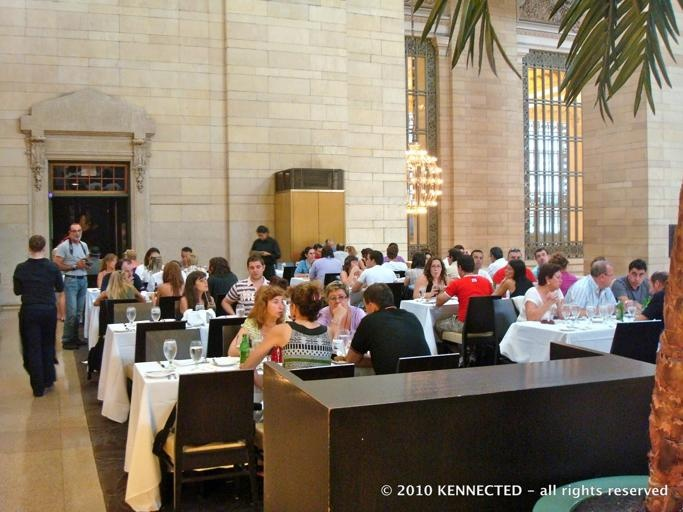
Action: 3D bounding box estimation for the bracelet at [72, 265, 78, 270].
[{"bbox_3d":[-3.815,0.165,9.752,0.057,0.057,0.084,-5,6,-30],"label":"bracelet"}]

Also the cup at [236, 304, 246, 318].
[{"bbox_3d":[-1.088,0.580,7.290,0.115,0.134,0.125,0,-5,0],"label":"cup"}]

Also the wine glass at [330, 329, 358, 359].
[{"bbox_3d":[0.018,0.721,5.581,0.184,0.341,0.191,1,-9,-13],"label":"wine glass"}]

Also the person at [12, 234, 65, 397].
[{"bbox_3d":[-3.345,0.620,7.474,0.416,1.694,0.450,8,8,44],"label":"person"}]

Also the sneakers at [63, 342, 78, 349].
[{"bbox_3d":[-3.828,1.252,9.596,0.149,0.119,0.098,-1,2,0],"label":"sneakers"}]

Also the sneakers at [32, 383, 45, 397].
[{"bbox_3d":[-3.261,1.425,7.382,0.121,0.161,0.130,3,4,-6],"label":"sneakers"}]

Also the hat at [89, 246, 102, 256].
[{"bbox_3d":[-4.286,-0.092,11.781,0.205,0.083,0.233,17,0,3],"label":"hat"}]

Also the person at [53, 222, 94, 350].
[{"bbox_3d":[-3.902,0.446,9.860,0.547,1.783,0.674,1,3,-13],"label":"person"}]
